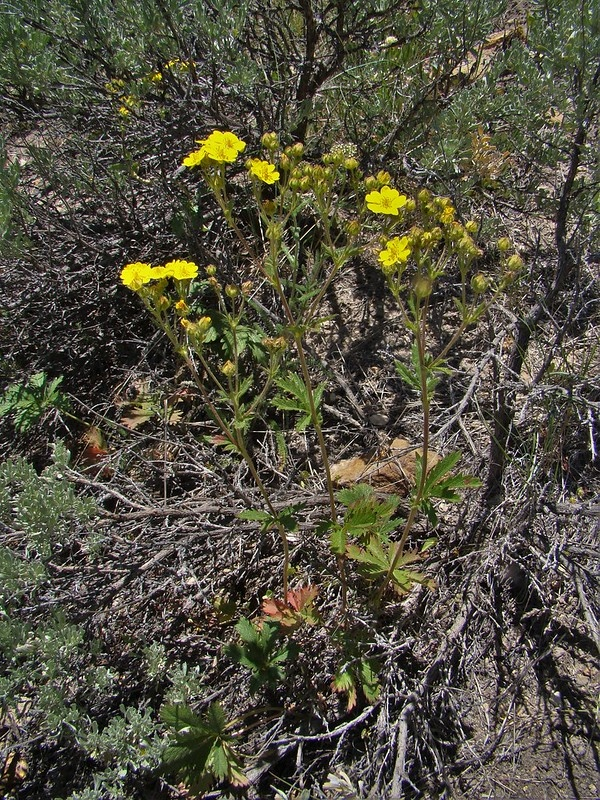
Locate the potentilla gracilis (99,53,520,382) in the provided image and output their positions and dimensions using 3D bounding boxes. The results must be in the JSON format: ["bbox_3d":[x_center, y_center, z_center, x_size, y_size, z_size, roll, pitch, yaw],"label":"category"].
[{"bbox_3d":[0.154,-0.584,2.357,1.499,0.641,1.572,-8,24,37],"label":"potentilla gracilis"}]
